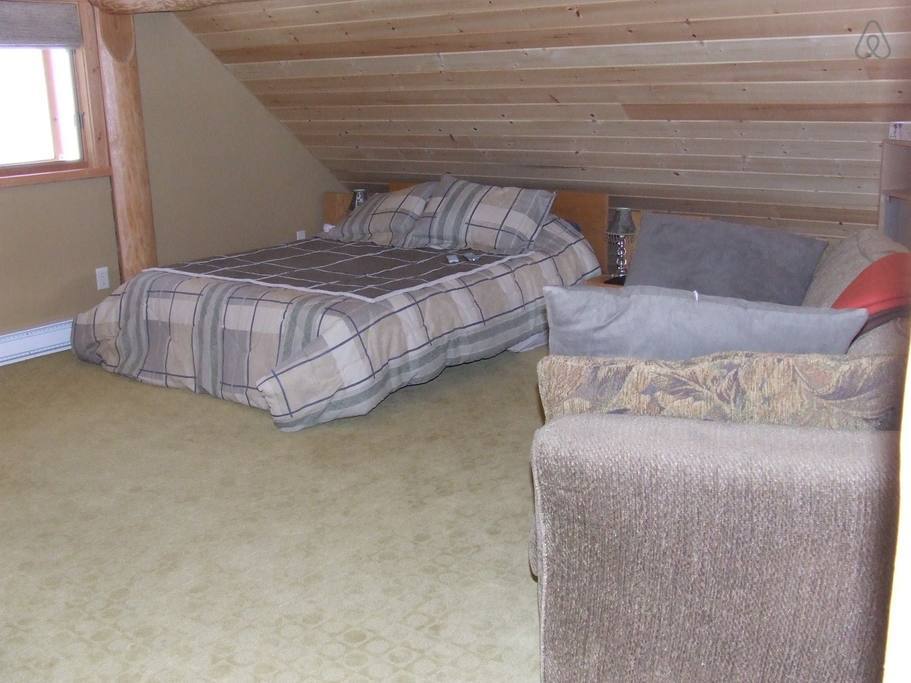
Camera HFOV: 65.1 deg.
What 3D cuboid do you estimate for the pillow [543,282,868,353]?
[{"bbox_3d":[0.686,-0.061,1.927,0.407,0.158,0.077,4,21,6],"label":"pillow"}]

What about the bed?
[{"bbox_3d":[-0.488,-0.286,4.116,2.411,0.928,1.556,-23,28,-37],"label":"bed"}]

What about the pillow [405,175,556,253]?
[{"bbox_3d":[0.284,-0.838,4.697,1.176,0.238,0.671,19,33,31],"label":"pillow"}]

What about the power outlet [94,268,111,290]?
[{"bbox_3d":[-2.332,-0.416,4.718,0.021,0.147,0.157,20,22,32],"label":"power outlet"}]

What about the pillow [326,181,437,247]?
[{"bbox_3d":[-0.443,-0.810,5.041,0.839,0.171,0.804,-1,-4,6],"label":"pillow"}]
